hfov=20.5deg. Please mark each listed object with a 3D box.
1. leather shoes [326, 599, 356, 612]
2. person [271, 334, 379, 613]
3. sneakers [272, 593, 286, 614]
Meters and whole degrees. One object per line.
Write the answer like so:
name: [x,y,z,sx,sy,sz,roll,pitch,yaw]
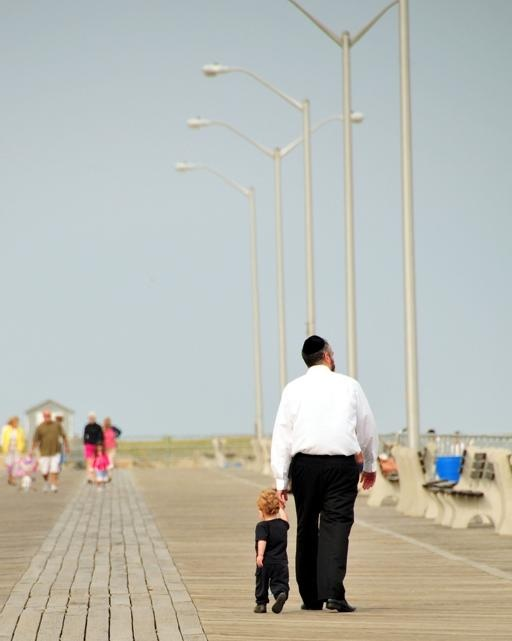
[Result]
leather shoes: [0.533,1.841,9.149,0.204,0.110,0.073,7,-3,-18]
person: [0.444,0.997,9.301,0.692,1.807,0.428,-1,-6,5]
sneakers: [0.150,1.808,9.070,0.057,0.187,0.074,15,6,9]
